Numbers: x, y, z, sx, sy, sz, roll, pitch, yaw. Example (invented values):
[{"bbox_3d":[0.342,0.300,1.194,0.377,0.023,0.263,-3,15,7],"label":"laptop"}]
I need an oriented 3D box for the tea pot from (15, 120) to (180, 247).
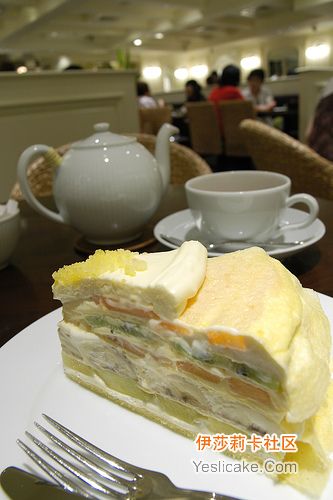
[{"bbox_3d":[-0.117,-0.132,0.794,0.318,0.218,0.205,-12,14,-22],"label":"tea pot"}]

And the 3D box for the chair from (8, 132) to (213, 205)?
[{"bbox_3d":[-0.142,-0.248,1.224,0.440,0.145,0.328,0,21,-1],"label":"chair"}]

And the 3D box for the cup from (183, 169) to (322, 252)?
[{"bbox_3d":[0.138,-0.085,0.673,0.185,0.078,0.141,8,27,26],"label":"cup"}]
